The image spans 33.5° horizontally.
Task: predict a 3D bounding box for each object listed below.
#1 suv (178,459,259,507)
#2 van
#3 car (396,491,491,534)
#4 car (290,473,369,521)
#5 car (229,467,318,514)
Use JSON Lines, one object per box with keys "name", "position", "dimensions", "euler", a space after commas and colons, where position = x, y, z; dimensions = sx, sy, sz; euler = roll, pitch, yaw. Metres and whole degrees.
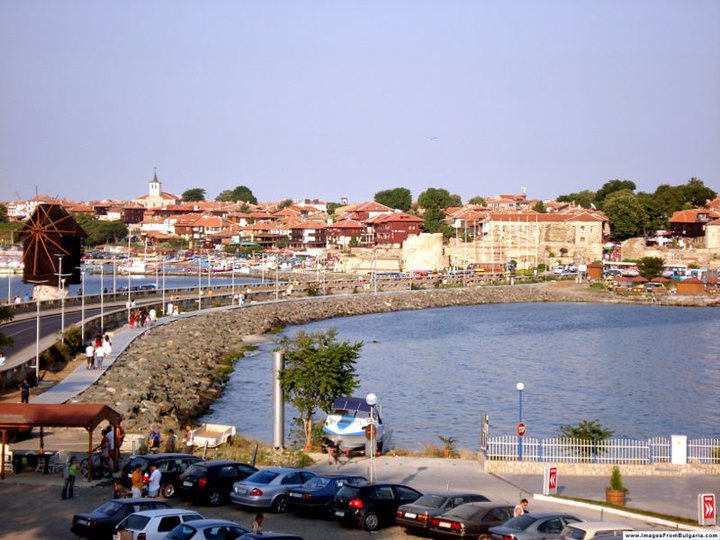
{"name": "suv", "position": [-6.098, 8.930, 51.428], "dimensions": [2.956, 1.161, 1.573], "euler": [-9, 11, -40]}
{"name": "van", "position": [0.722, 9.676, 50.002], "dimensions": [3.378, 1.210, 1.856], "euler": [-5, 7, -30]}
{"name": "car", "position": [3.477, 9.663, 49.475], "dimensions": [3.768, 1.041, 1.582], "euler": [-10, 12, -36]}
{"name": "car", "position": [-1.628, 9.527, 51.865], "dimensions": [3.709, 1.537, 3.225], "euler": [-5, -1, 4]}
{"name": "car", "position": [-3.877, 9.365, 52.086], "dimensions": [3.645, 1.636, 2.973], "euler": [-5, -1, -6]}
